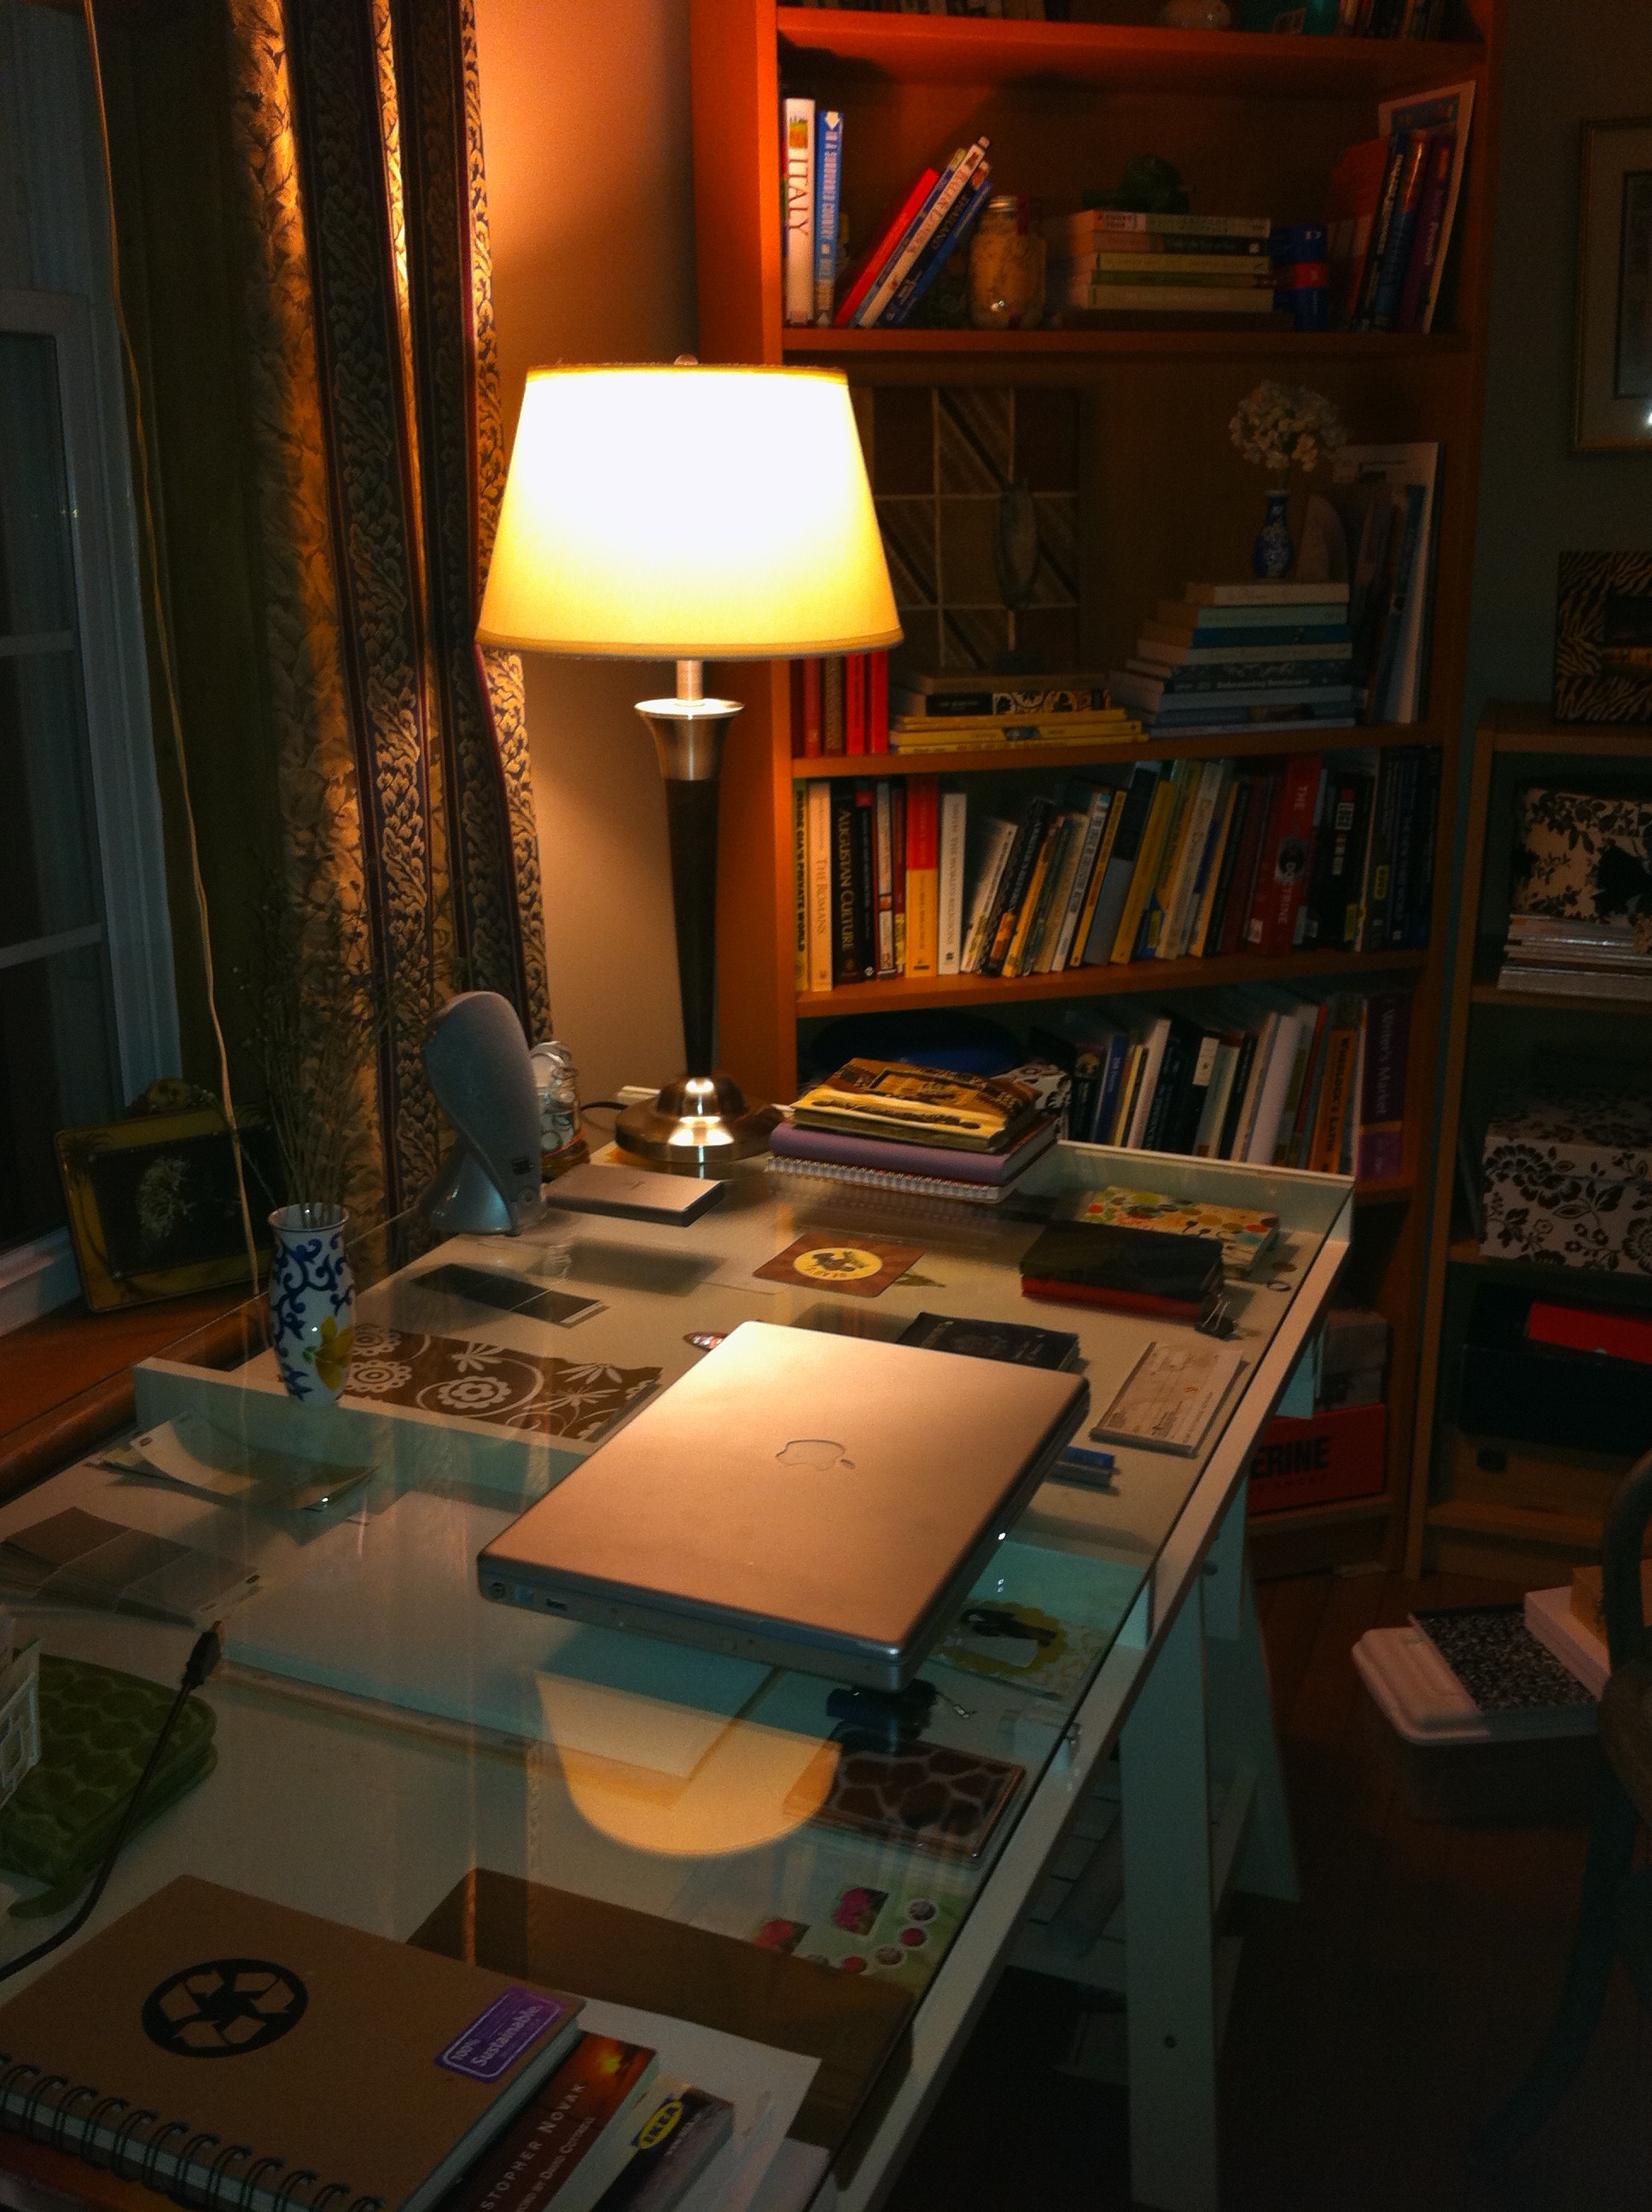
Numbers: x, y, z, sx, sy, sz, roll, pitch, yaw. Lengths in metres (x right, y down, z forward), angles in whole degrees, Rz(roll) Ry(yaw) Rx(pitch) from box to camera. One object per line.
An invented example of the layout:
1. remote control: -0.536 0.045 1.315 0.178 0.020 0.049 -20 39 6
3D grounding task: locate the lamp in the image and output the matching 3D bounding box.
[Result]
1. lamp: -0.121 -0.345 1.773 0.415 0.780 0.230 -5 14 2

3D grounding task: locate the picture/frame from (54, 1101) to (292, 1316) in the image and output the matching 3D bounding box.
1. picture/frame: -0.726 0.114 1.931 0.209 0.203 0.023 -16 14 -36

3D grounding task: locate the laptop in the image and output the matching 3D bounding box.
1. laptop: -0.005 0.237 1.096 0.280 0.043 0.394 8 16 27
